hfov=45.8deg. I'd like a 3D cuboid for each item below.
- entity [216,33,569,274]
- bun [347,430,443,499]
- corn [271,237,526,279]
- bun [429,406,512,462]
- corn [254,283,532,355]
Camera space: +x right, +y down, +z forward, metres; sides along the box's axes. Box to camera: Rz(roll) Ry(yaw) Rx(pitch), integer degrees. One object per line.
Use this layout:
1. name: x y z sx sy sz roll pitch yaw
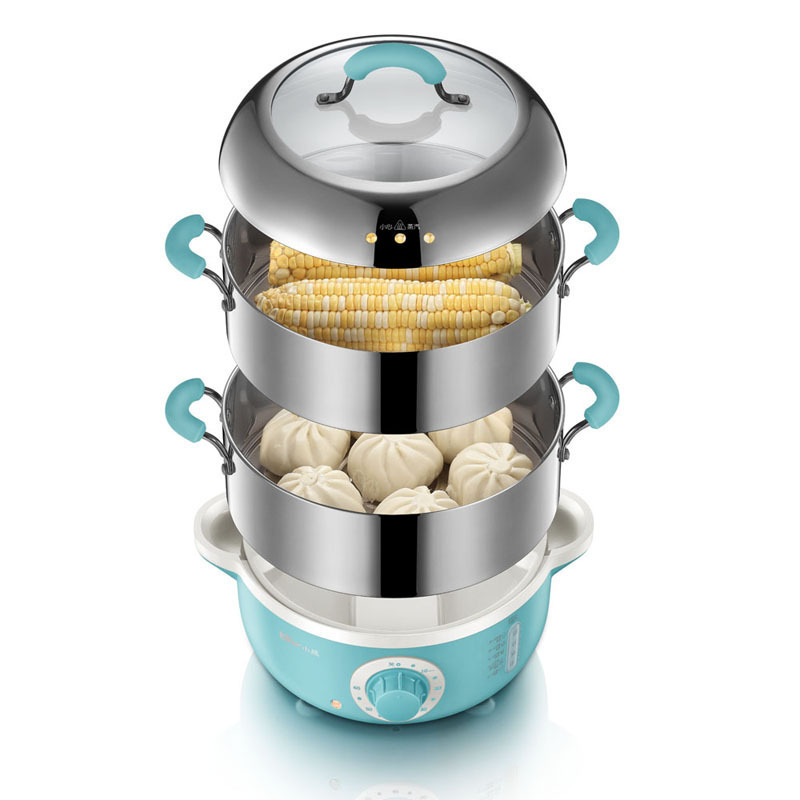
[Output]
1. entity: -0.011 -0.448 1.626 0.591 0.495 0.351 -1 -2 -10
2. bun: -0.014 0.106 2.075 0.223 0.068 0.179 0 33 20
3. corn: 0.002 -0.244 1.610 0.431 0.080 0.095 -2 -10 5
4. bun: 0.166 0.072 2.112 0.155 0.081 0.132 -2 33 -2
5. corn: -0.007 -0.159 1.722 0.491 0.155 0.218 -1 -2 -10
